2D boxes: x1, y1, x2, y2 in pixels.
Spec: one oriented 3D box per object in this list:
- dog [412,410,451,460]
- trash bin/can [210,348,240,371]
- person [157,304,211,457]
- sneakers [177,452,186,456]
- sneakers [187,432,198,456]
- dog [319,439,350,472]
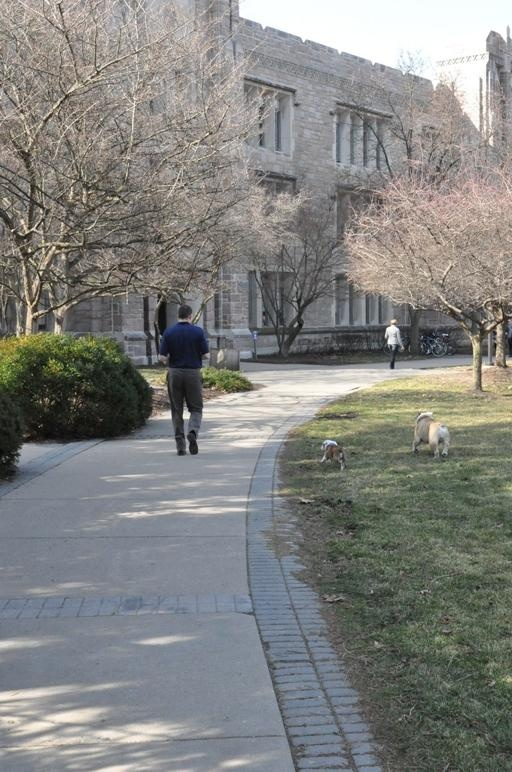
[{"bbox_3d":[1.926,0.534,9.863,0.368,0.450,0.714,-1,3,1],"label":"dog"},{"bbox_3d":[-0.724,-0.595,20.980,0.632,0.614,0.469,5,9,33],"label":"trash bin/can"},{"bbox_3d":[-0.805,-0.086,10.273,0.522,1.644,1.015,-1,3,-3],"label":"person"},{"bbox_3d":[-0.814,0.725,9.889,0.090,0.063,0.152,-1,3,-4],"label":"sneakers"},{"bbox_3d":[-0.697,0.628,9.918,0.094,0.265,0.111,-2,-1,-13],"label":"sneakers"},{"bbox_3d":[0.842,0.696,9.282,0.127,0.285,0.516,-1,8,-14],"label":"dog"}]
